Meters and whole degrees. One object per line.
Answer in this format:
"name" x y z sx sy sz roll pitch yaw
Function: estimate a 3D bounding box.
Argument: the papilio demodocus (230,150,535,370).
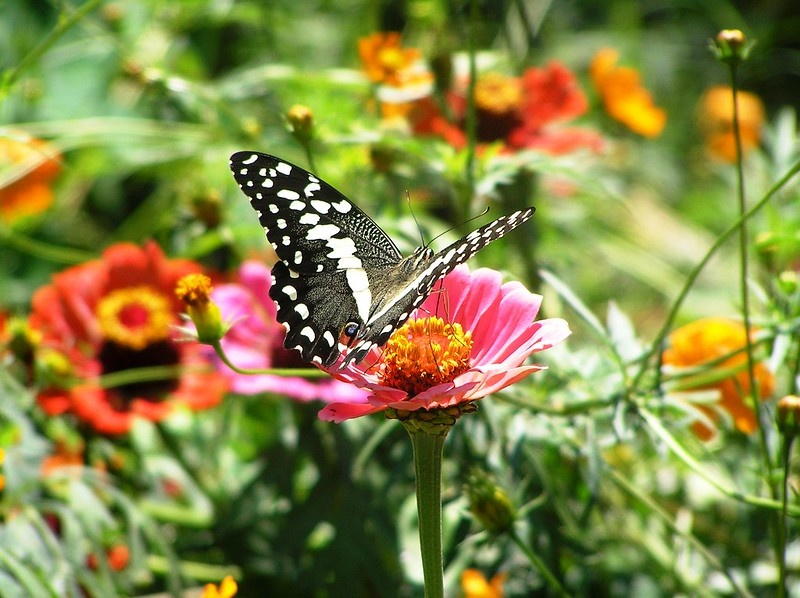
"papilio demodocus" 0.038 -0.067 1.274 0.307 0.202 0.158 1 72 6
